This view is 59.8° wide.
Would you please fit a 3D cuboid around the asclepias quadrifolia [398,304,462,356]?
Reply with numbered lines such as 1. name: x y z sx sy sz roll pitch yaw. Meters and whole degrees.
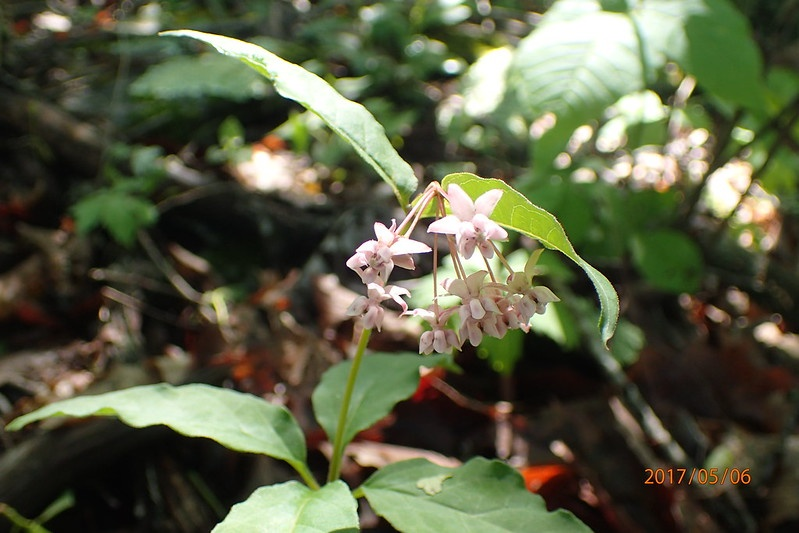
1. asclepias quadrifolia: 0.166 0.297 3.585 0.309 0.287 0.388 3 -5 14

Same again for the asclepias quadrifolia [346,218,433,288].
1. asclepias quadrifolia: -0.046 -0.070 3.507 0.388 0.333 0.234 7 17 2

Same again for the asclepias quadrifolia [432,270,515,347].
1. asclepias quadrifolia: 0.409 0.204 3.513 0.368 0.372 0.132 -23 -2 -8

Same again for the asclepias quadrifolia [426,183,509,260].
1. asclepias quadrifolia: 0.356 -0.228 3.441 0.375 0.336 0.287 10 17 10

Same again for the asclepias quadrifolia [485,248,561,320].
1. asclepias quadrifolia: 0.640 0.075 3.534 0.322 0.367 0.217 6 17 -1
